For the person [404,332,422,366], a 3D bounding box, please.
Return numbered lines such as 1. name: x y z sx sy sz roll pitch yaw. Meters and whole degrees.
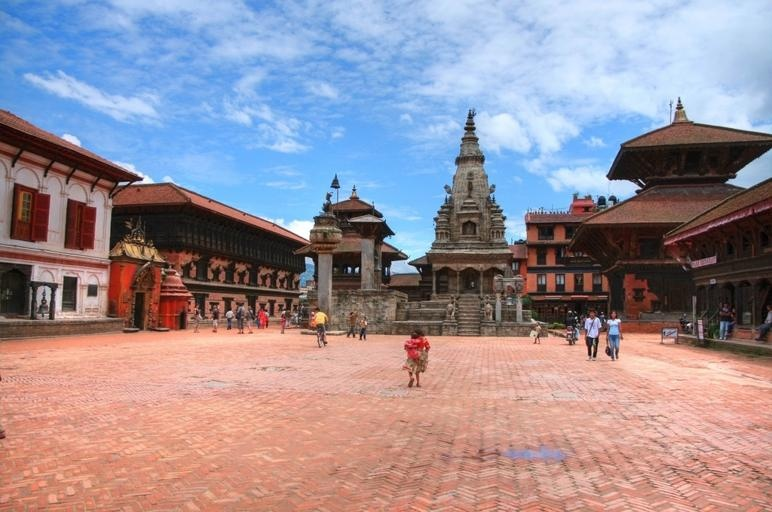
1. person: 0.873 2.568 17.412 0.565 0.912 0.743 1 6 3
